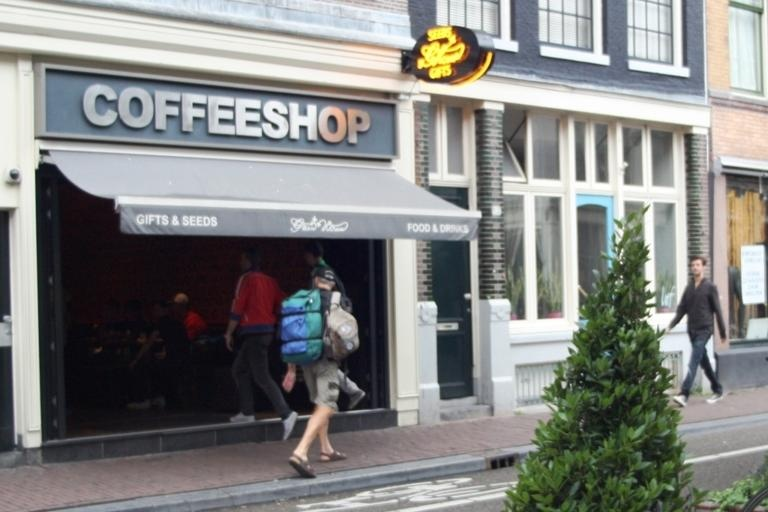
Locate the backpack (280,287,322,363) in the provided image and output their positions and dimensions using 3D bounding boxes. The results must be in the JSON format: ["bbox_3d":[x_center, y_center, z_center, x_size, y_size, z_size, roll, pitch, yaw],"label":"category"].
[{"bbox_3d":[-1.059,0.929,12.413,0.529,0.980,0.356,1,10,-9],"label":"backpack"}]

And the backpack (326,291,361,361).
[{"bbox_3d":[-0.586,0.941,12.416,0.415,0.908,0.416,-1,10,-17],"label":"backpack"}]

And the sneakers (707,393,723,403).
[{"bbox_3d":[5.840,2.485,16.925,0.364,0.145,0.124,-1,-2,-33],"label":"sneakers"}]

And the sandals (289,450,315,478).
[{"bbox_3d":[-1.057,2.614,12.127,0.186,0.468,0.171,-37,19,-3],"label":"sandals"}]

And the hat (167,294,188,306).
[{"bbox_3d":[-3.963,0.833,18.490,0.287,0.184,0.281,1,1,8],"label":"hat"}]

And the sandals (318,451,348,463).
[{"bbox_3d":[-0.688,2.670,12.867,0.322,0.128,0.147,-2,2,-30],"label":"sandals"}]

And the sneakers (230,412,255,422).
[{"bbox_3d":[-2.065,2.337,13.904,0.356,0.140,0.142,4,-3,4],"label":"sneakers"}]
